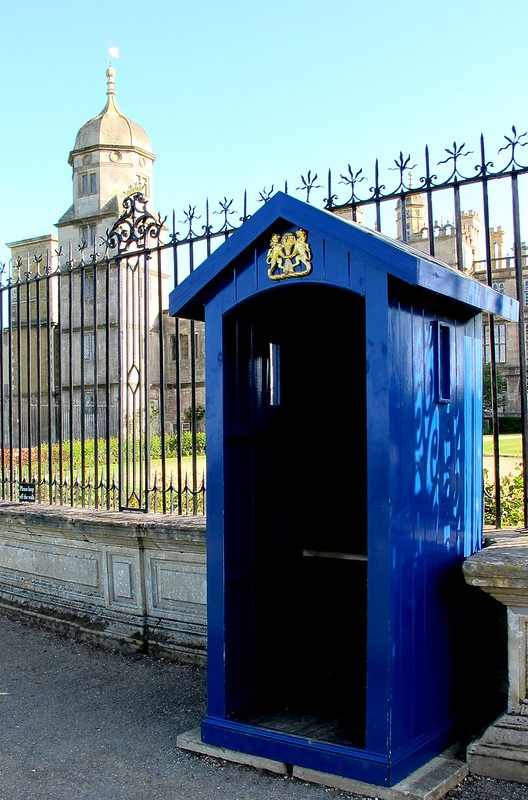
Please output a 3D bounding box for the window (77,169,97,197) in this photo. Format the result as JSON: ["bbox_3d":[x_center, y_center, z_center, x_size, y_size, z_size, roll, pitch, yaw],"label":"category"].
[{"bbox_3d":[-6.542,-8.024,37.017,0.092,1.208,0.933,1,0,-41],"label":"window"}]
